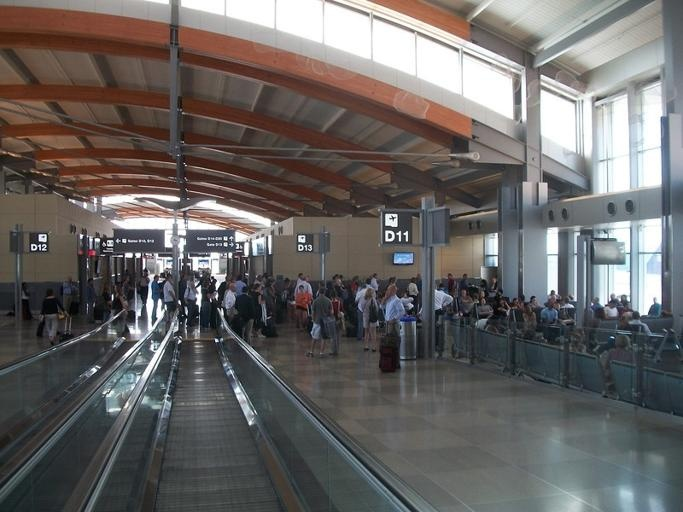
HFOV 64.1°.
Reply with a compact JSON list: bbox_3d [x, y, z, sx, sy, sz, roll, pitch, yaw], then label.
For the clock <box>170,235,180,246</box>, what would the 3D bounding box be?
[{"bbox_3d":[-8.754,-0.783,28.694,0.551,0.595,0.636,-4,4,-16],"label":"clock"}]
